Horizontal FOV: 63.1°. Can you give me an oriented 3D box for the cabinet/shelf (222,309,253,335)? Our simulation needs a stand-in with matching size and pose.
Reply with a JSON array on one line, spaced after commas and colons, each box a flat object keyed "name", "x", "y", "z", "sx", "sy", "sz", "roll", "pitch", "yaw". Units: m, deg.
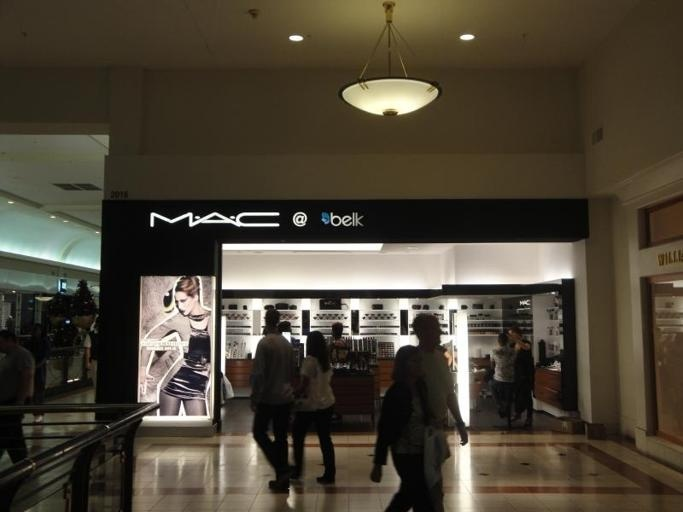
[{"name": "cabinet/shelf", "x": -2.794, "y": 1.786, "z": 14.783, "sx": 0.634, "sy": 0.593, "sz": 0.216, "roll": 0, "pitch": -7, "yaw": -4}]

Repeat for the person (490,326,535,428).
[{"name": "person", "x": 3.307, "y": 2.326, "z": 10.784, "sx": 0.766, "sy": 1.846, "sz": 0.688, "roll": -2, "pitch": -7, "yaw": 27}]

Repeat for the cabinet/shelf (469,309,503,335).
[{"name": "cabinet/shelf", "x": 3.536, "y": 1.641, "z": 13.691, "sx": 0.942, "sy": 0.520, "sz": 0.665, "roll": -4, "pitch": -12, "yaw": 3}]

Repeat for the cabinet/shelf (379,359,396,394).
[{"name": "cabinet/shelf", "x": 1.288, "y": 3.011, "z": 14.122, "sx": 0.641, "sy": 0.921, "sz": 0.665, "roll": -3, "pitch": -5, "yaw": 4}]

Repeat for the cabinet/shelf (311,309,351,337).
[{"name": "cabinet/shelf", "x": -0.318, "y": 1.920, "z": 15.117, "sx": 1.396, "sy": 0.826, "sz": 1.349, "roll": 1, "pitch": 0, "yaw": 0}]

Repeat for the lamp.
[{"name": "lamp", "x": 0.793, "y": -3.235, "z": 8.974, "sx": 1.250, "sy": 1.325, "sz": 1.246, "roll": 14, "pitch": -21, "yaw": -36}]
